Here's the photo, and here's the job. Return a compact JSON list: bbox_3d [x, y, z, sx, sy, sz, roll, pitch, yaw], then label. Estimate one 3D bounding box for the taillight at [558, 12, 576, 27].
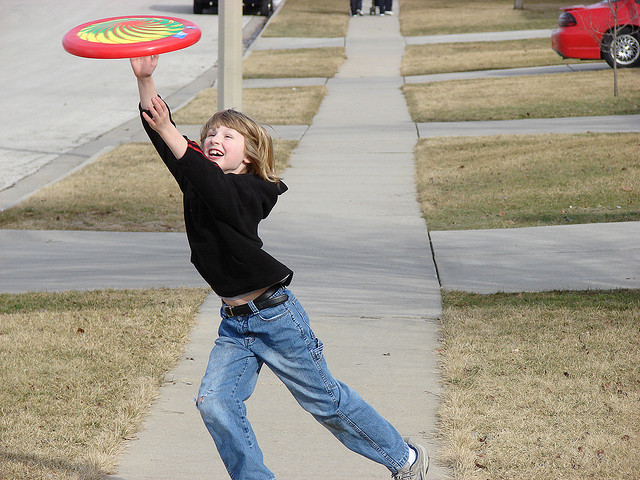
[{"bbox_3d":[5.183,-4.615,30.818,0.309,0.180,0.281,-8,16,-13],"label":"taillight"}]
